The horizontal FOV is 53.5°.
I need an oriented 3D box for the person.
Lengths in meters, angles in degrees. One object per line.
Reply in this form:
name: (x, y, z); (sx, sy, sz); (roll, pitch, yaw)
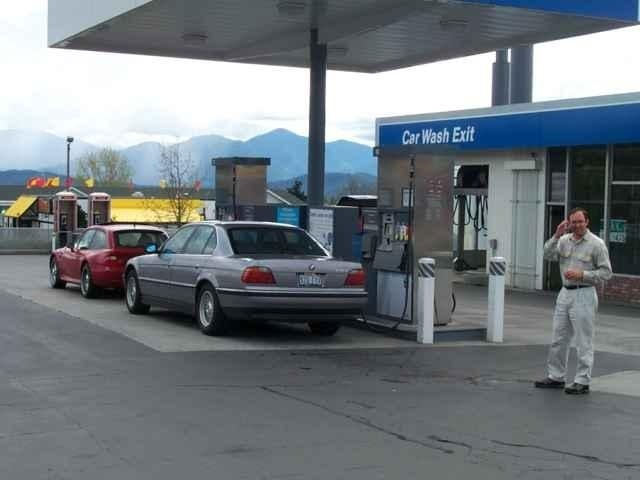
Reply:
person: (3.354, 0.763, 8.315); (0.826, 1.577, 1.052); (2, 2, 24)

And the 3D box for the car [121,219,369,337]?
car: (-1.633, 0.532, 11.532); (1.906, 1.357, 4.101); (2, 2, -33)

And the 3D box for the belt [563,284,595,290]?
belt: (3.351, 0.605, 8.215); (0.347, 0.082, 0.151); (2, 2, 22)

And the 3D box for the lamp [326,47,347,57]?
lamp: (0.507, -5.614, 18.963); (0.493, 0.144, 0.491); (0, -1, -7)

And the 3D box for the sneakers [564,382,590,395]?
sneakers: (3.237, 1.871, 7.976); (0.330, 0.140, 0.125); (4, -7, -18)

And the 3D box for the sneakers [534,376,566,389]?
sneakers: (2.999, 1.852, 8.253); (0.384, 0.164, 0.160); (5, -2, 2)
